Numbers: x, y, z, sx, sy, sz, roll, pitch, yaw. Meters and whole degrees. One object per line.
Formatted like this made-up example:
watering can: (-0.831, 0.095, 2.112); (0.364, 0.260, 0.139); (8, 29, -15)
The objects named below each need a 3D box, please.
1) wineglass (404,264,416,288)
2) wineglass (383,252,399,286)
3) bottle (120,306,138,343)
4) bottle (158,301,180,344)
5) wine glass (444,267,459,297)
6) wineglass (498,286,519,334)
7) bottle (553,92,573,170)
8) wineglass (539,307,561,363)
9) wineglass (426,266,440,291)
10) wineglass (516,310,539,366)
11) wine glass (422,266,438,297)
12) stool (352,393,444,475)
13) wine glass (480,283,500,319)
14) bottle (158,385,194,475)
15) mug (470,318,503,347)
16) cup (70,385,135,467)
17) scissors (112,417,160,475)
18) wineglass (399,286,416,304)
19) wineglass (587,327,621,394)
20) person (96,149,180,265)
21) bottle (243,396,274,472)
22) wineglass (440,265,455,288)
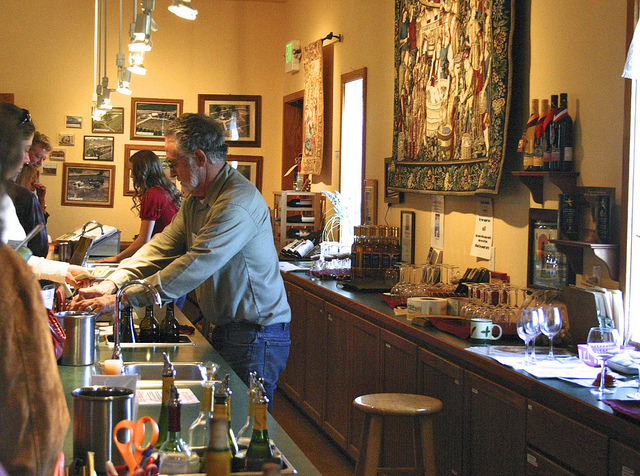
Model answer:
wineglass: (0.582, 0.251, 3.871); (0.065, 0.141, 0.108); (1, 3, 9)
wineglass: (0.532, 0.234, 4.491); (0.121, 0.234, 0.344); (1, 3, 8)
bottle: (-0.996, 0.444, 3.070); (0.087, 0.197, 0.166); (-1, 3, -18)
bottle: (-0.820, 0.447, 3.195); (0.101, 0.306, 0.099); (10, 32, -6)
wine glass: (0.862, 0.263, 3.899); (0.073, 0.148, 0.691); (1, 3, 14)
wineglass: (1.030, 0.381, 3.215); (0.115, 0.307, 0.121); (0, -9, 24)
bottle: (1.321, -0.578, 3.219); (0.100, 0.416, 0.078); (1, 3, 13)
wineglass: (1.055, 0.434, 2.719); (0.088, 0.264, 0.244); (1, 3, 22)
wineglass: (0.719, 0.259, 3.793); (0.069, 0.134, 0.222); (1, 3, 13)
wineglass: (0.934, 0.441, 2.690); (0.092, 0.248, 0.151); (0, 3, 6)
wine glass: (0.695, 0.275, 3.763); (0.084, 0.164, 0.289); (1, 3, 13)
stool: (0.354, 0.904, 2.855); (0.346, 0.456, 0.394); (1, -7, -1)
wine glass: (0.895, 0.350, 3.215); (0.137, 0.204, 0.147); (2, -2, -3)
bottle: (-0.403, 0.527, 1.658); (0.091, 0.237, 0.293); (0, 3, -13)
mug: (0.850, 0.474, 3.024); (0.174, 0.128, 0.193); (1, 3, 11)
cup: (-0.617, 0.531, 1.701); (0.159, 0.202, 0.176); (5, 0, 42)
scissors: (-0.497, 0.559, 1.576); (0.146, 0.214, 0.028); (1, -2, 9)
wineglass: (0.562, 0.365, 3.826); (0.099, 0.101, 0.155); (0, 3, 6)
wineglass: (1.134, 0.485, 2.371); (0.122, 0.243, 0.150); (1, 3, 27)
person: (-1.672, -0.277, 5.457); (0.710, 1.103, 0.663); (5, 30, -11)
bottle: (-0.175, 0.542, 1.664); (0.085, 0.227, 0.161); (0, 3, -3)
wineglass: (0.836, 0.258, 3.922); (0.112, 0.143, 0.123); (-1, -4, 36)
